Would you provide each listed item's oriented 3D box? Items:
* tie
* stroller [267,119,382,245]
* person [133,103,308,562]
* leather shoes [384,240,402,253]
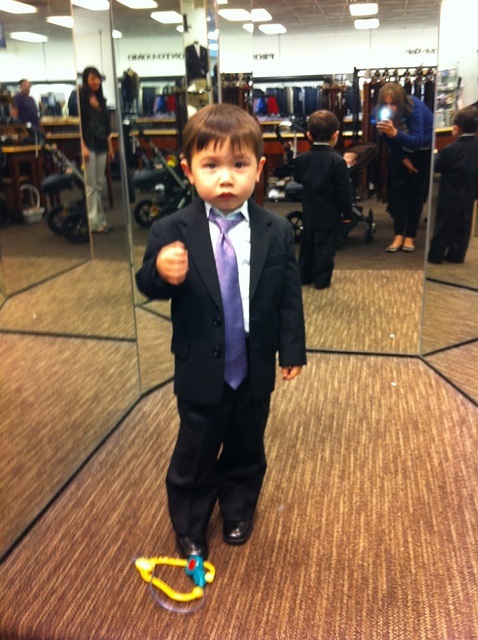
[{"bbox_3d":[-0.021,-0.041,0.940,0.077,0.383,0.066,-1,6,-4],"label":"tie"},{"bbox_3d":[0.530,-0.852,2.712,0.547,0.757,0.436,-3,12,-4],"label":"stroller"},{"bbox_3d":[-0.046,0.072,0.993,0.415,1.025,0.330,-6,8,-37],"label":"person"},{"bbox_3d":[0.879,-0.413,2.567,0.035,0.052,0.112,0,16,-15],"label":"leather shoes"}]
